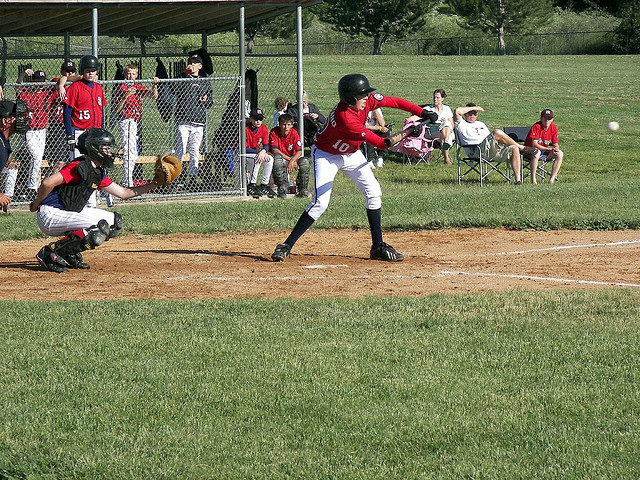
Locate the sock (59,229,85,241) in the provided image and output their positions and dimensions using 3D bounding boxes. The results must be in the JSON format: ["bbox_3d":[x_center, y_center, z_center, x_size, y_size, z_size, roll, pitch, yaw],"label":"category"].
[{"bbox_3d":[-2.990,-0.059,12.902,0.299,0.127,0.094,-2,15,-6],"label":"sock"}]

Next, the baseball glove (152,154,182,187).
[{"bbox_3d":[-1.873,-0.825,12.826,0.406,0.384,0.342,-9,17,-29],"label":"baseball glove"}]

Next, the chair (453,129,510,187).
[{"bbox_3d":[3.036,-1.562,19.951,0.798,1.045,0.797,-1,2,-19],"label":"chair"}]

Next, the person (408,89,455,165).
[{"bbox_3d":[2.439,-2.289,21.749,0.816,1.576,0.953,-5,-5,0],"label":"person"}]

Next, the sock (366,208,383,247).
[{"bbox_3d":[0.696,-0.170,13.603,0.188,0.494,0.321,0,15,2],"label":"sock"}]

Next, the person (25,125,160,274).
[{"bbox_3d":[-2.878,-0.483,12.932,1.220,1.724,0.455,-5,16,-15],"label":"person"}]

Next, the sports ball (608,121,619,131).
[{"bbox_3d":[6.270,-2.424,22.810,0.249,0.193,0.242,3,14,-1],"label":"sports ball"}]
